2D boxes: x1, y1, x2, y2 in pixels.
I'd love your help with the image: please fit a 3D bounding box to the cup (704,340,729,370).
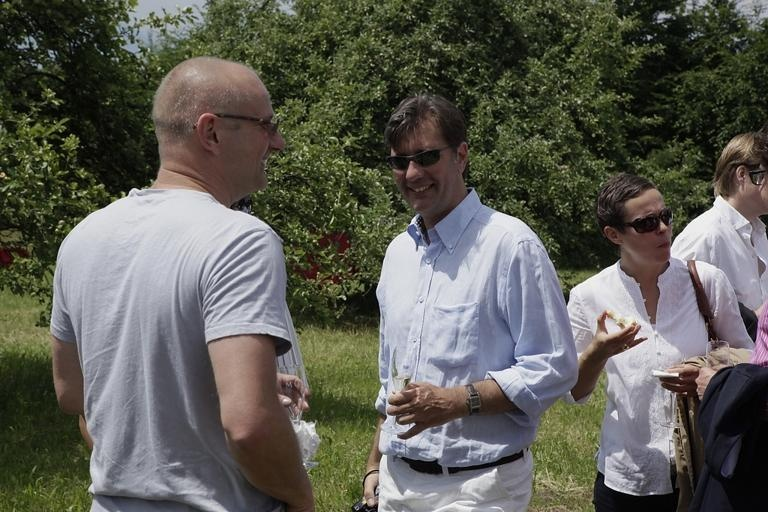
[{"bbox_3d":[3.197,0.962,9.659,0.237,0.341,0.219,3,-18,1],"label":"cup"}]
